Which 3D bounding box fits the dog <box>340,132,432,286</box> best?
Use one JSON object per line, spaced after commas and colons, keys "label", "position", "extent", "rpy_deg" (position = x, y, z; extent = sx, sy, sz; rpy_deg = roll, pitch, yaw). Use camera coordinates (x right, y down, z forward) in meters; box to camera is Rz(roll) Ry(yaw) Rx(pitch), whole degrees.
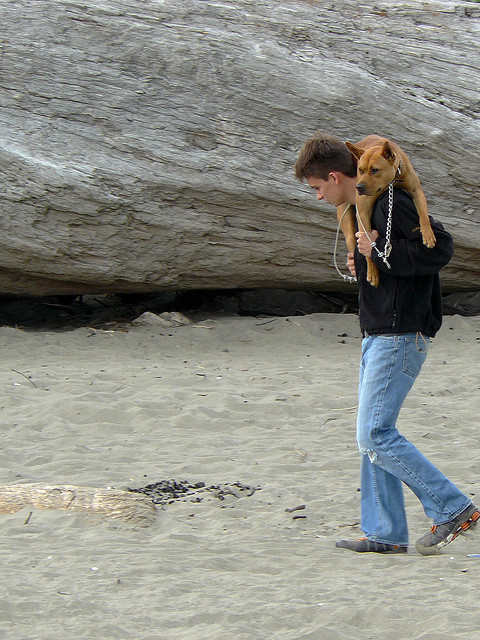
{"label": "dog", "position": [0.625, -0.500, 3.253], "extent": [0.335, 0.671, 0.578], "rpy_deg": [2, 14, -3]}
